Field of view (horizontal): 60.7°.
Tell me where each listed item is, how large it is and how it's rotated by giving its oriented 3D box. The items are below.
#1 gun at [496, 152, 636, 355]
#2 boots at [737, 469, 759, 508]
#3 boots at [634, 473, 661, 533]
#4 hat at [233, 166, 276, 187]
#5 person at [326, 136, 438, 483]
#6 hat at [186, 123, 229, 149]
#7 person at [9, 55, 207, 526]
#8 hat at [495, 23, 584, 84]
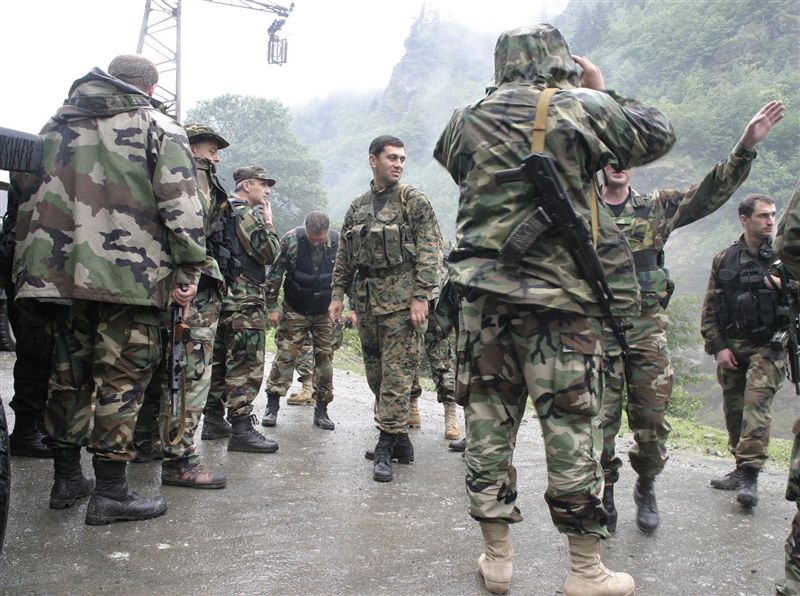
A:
[{"bbox_3d":[0.857,-0.232,3.651,0.521,1.190,0.134,-23,10,9],"label":"gun"},{"bbox_3d":[2.748,1.457,5.370,0.148,0.284,0.436,10,7,26],"label":"boots"},{"bbox_3d":[1.680,1.407,4.651,0.143,0.166,0.400,-1,27,9],"label":"boots"},{"bbox_3d":[-1.284,-1.107,6.118,0.369,0.142,0.226,1,3,-25],"label":"hat"},{"bbox_3d":[-0.101,0.033,5.797,0.614,2.869,1.044,5,-9,-34],"label":"person"},{"bbox_3d":[-1.462,-1.249,5.237,0.261,0.091,0.285,-4,-3,33],"label":"hat"},{"bbox_3d":[-1.777,-0.118,4.193,1.080,2.944,0.594,3,-8,-17],"label":"person"},{"bbox_3d":[0.795,-1.380,3.898,0.436,0.271,0.399,2,10,25],"label":"hat"}]
